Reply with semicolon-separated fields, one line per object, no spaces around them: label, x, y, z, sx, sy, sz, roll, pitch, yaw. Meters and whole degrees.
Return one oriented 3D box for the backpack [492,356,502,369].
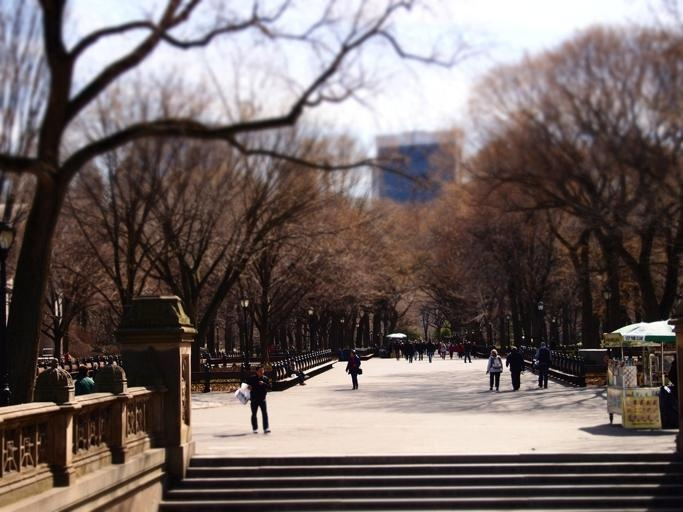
backpack;6.099;4.227;33.187;0.428;0.660;0.319;2;2;7
